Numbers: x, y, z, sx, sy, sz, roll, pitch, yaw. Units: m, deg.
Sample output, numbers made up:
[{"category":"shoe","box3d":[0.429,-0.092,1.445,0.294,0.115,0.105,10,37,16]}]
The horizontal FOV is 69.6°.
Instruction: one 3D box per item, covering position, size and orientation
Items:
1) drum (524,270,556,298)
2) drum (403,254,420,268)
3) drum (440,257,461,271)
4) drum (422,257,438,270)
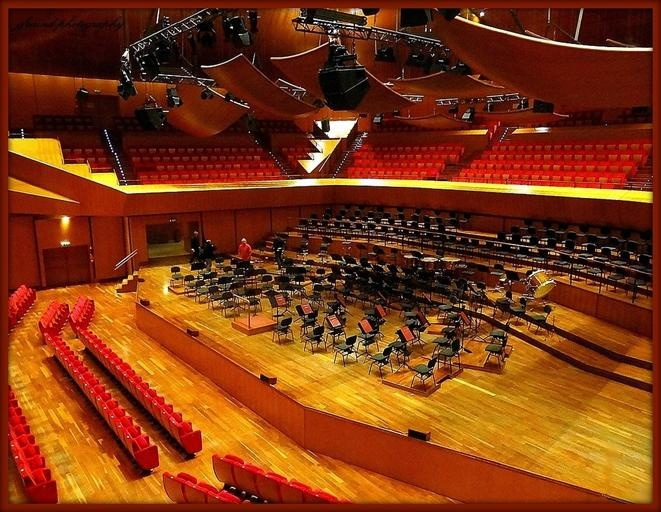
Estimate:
[{"category":"drum","box3d":[4.914,0.670,11.195,0.440,0.446,0.331,-38,34,14]},{"category":"drum","box3d":[2.436,0.140,14.565,0.429,0.418,0.431,-1,2,-7]},{"category":"drum","box3d":[3.359,0.182,13.280,0.440,0.274,0.437,-1,11,0]},{"category":"drum","box3d":[2.944,0.191,14.143,0.432,0.310,0.437,0,3,0]}]
